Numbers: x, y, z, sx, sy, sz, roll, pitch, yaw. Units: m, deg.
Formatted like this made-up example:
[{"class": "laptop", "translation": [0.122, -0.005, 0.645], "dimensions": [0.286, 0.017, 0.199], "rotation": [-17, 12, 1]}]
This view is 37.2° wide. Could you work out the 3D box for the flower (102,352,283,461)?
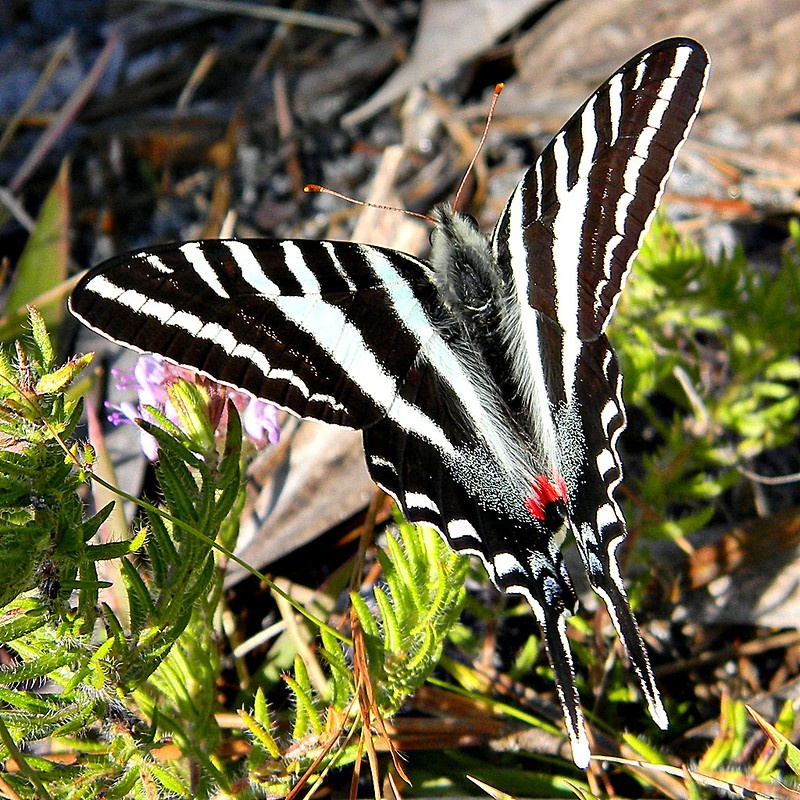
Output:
[{"class": "flower", "translation": [-0.470, 0.000, 2.851], "dimensions": [0.332, 0.366, 0.120], "rotation": [-15, 47, 30]}]
